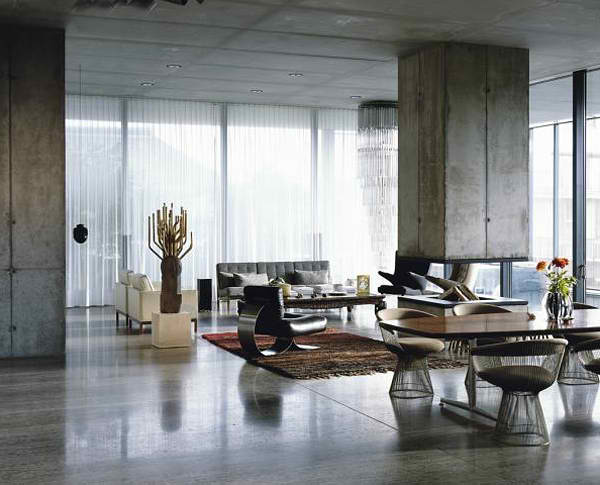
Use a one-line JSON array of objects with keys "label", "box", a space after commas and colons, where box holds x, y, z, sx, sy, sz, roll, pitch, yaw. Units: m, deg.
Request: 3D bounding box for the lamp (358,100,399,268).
[{"label": "lamp", "box": [1.605, -1.373, 12.391, 0.777, 3.116, 0.821, 0, 2, 5]}]

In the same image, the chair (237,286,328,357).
[{"label": "chair", "box": [-0.278, 1.031, 7.955, 0.884, 0.902, 1.241, 0, 3, 42]}]

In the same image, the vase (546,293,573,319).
[{"label": "vase", "box": [2.496, 0.617, 5.884, 0.251, 0.296, 0.235, 4, -5, -4]}]

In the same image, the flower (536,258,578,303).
[{"label": "flower", "box": [2.548, 0.387, 5.896, 0.355, 0.463, 0.332, -8, 4, 39]}]

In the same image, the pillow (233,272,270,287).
[{"label": "pillow", "box": [-0.944, 0.704, 11.591, 0.675, 0.207, 0.722, 0, 2, 0]}]

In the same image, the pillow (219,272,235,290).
[{"label": "pillow", "box": [-1.445, 0.708, 11.702, 0.282, 0.334, 0.278, 2, -5, -24]}]

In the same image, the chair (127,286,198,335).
[{"label": "chair", "box": [-2.132, 1.135, 9.880, 0.848, 0.619, 1.441, -2, -7, -13]}]

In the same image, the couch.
[{"label": "couch", "box": [-0.375, 0.857, 11.950, 2.392, 0.945, 0.811, -1, -2, -24]}]
